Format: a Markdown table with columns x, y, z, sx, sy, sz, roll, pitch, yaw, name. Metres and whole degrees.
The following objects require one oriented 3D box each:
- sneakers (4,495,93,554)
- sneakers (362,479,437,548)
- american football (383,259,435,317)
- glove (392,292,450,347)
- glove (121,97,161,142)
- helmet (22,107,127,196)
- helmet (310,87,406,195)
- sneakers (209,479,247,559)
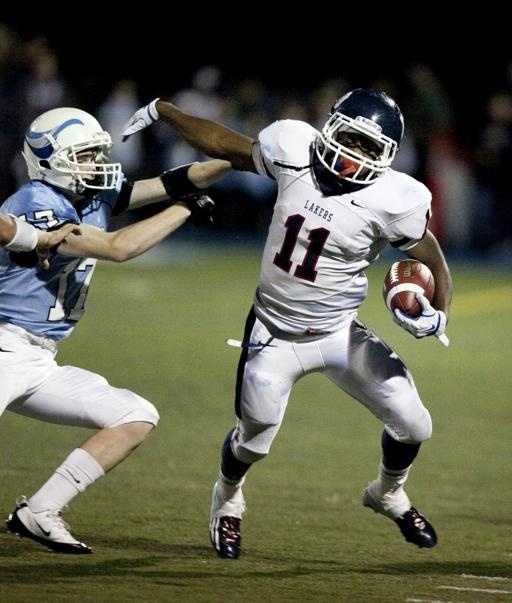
| x | y | z | sx | sy | sz | roll | pitch | yaw | name |
| --- | --- | --- | --- | --- | --- | --- | --- | --- | --- |
| -0.719 | 0.782 | 2.724 | 0.400 | 0.129 | 0.121 | 20 | 3 | -6 | sneakers |
| 0.624 | 0.902 | 3.255 | 0.185 | 0.119 | 0.386 | 32 | -3 | -36 | sneakers |
| 0.592 | -0.067 | 3.121 | 0.185 | 0.168 | 0.242 | 24 | 38 | -19 | american football |
| 0.667 | 0.075 | 3.088 | 0.291 | 0.153 | 0.097 | 33 | -5 | -29 | glove |
| -0.519 | -0.812 | 3.480 | 0.068 | 0.252 | 0.135 | 49 | 20 | -44 | glove |
| -0.739 | -0.609 | 3.084 | 0.532 | 0.293 | 0.344 | 10 | 16 | 19 | helmet |
| 0.396 | -0.619 | 3.003 | 0.357 | 0.412 | 0.345 | 4 | 14 | 0 | helmet |
| -0.094 | 0.858 | 3.035 | 0.110 | 0.132 | 0.267 | 19 | 40 | -29 | sneakers |
